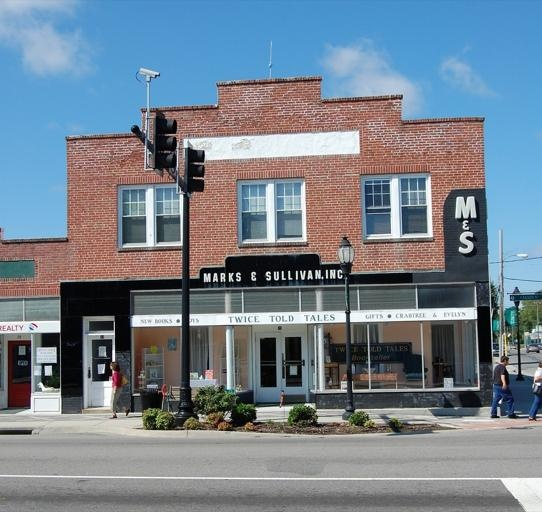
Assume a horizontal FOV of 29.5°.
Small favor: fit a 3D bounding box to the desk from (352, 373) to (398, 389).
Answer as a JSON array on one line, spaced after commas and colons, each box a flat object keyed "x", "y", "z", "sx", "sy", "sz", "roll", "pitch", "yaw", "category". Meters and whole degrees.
[{"x": 2.997, "y": 3.609, "z": 29.739, "sx": 1.261, "sy": 0.438, "sz": 0.181, "roll": -3, "pitch": -9, "yaw": 6, "category": "desk"}]

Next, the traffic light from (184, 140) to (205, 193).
[{"x": -1.817, "y": -2.102, "z": 24.346, "sx": 0.439, "sy": 1.246, "sz": 1.022, "roll": 0, "pitch": -9, "yaw": -6, "category": "traffic light"}]

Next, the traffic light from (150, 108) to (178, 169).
[{"x": -2.372, "y": -2.511, "z": 22.776, "sx": 0.538, "sy": 1.271, "sz": 0.914, "roll": 0, "pitch": -9, "yaw": -8, "category": "traffic light"}]

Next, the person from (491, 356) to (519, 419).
[{"x": 6.322, "y": 3.619, "z": 28.373, "sx": 0.656, "sy": 1.728, "sz": 1.438, "roll": -3, "pitch": -9, "yaw": 13, "category": "person"}]

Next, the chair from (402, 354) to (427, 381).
[{"x": 4.093, "y": 3.223, "z": 29.733, "sx": 0.635, "sy": 0.988, "sz": 0.678, "roll": 0, "pitch": -9, "yaw": 4, "category": "chair"}]

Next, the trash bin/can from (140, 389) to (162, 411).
[{"x": -3.318, "y": 3.943, "z": 28.260, "sx": 0.519, "sy": 0.529, "sz": 0.459, "roll": 13, "pitch": -19, "yaw": -35, "category": "trash bin/can"}]
